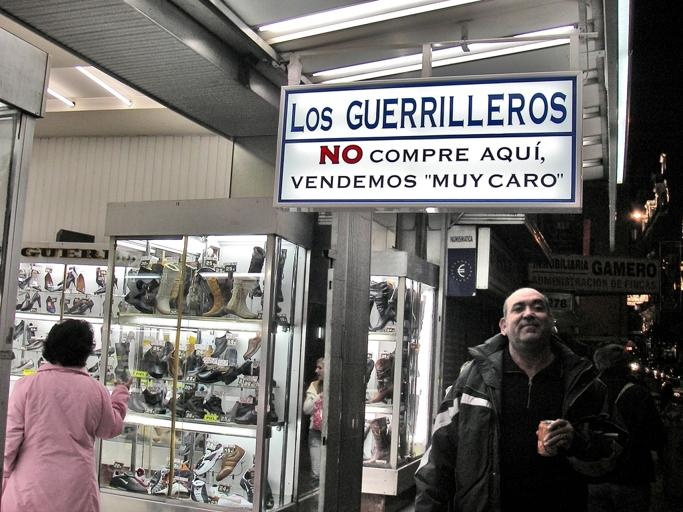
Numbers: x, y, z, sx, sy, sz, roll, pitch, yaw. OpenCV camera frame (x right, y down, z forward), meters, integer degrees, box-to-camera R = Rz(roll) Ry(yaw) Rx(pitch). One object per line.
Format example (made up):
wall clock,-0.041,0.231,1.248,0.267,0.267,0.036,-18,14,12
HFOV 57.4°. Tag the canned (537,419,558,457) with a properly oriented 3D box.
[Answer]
canned,1.031,0.914,3.147,0.072,0.194,0.170,0,-7,15

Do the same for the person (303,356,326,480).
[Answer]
person,-0.227,1.636,6.050,0.284,1.169,0.290,4,-3,-20
